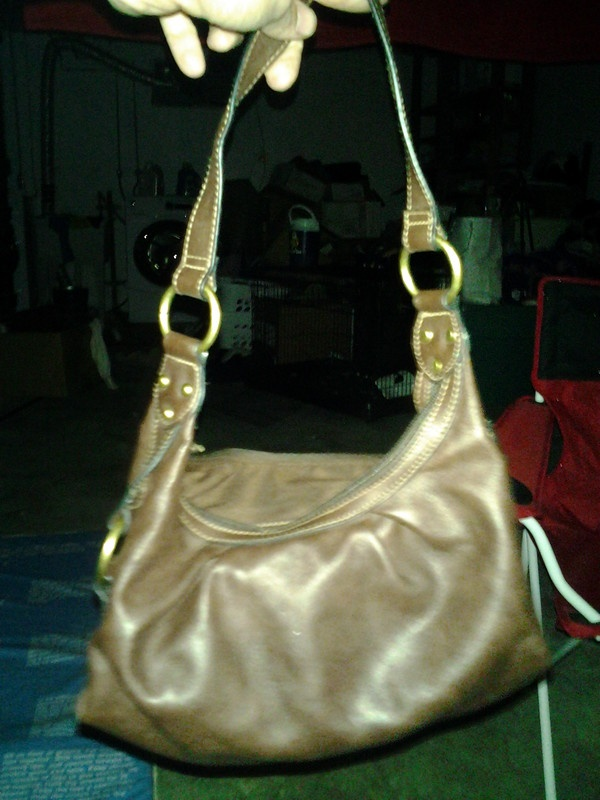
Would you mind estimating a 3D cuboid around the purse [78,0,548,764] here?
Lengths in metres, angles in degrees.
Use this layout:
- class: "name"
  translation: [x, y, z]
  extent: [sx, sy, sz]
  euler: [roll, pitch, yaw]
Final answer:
- class: "purse"
  translation: [0.020, 0.106, 0.656]
  extent: [0.419, 0.491, 0.130]
  euler: [3, 12, 8]
